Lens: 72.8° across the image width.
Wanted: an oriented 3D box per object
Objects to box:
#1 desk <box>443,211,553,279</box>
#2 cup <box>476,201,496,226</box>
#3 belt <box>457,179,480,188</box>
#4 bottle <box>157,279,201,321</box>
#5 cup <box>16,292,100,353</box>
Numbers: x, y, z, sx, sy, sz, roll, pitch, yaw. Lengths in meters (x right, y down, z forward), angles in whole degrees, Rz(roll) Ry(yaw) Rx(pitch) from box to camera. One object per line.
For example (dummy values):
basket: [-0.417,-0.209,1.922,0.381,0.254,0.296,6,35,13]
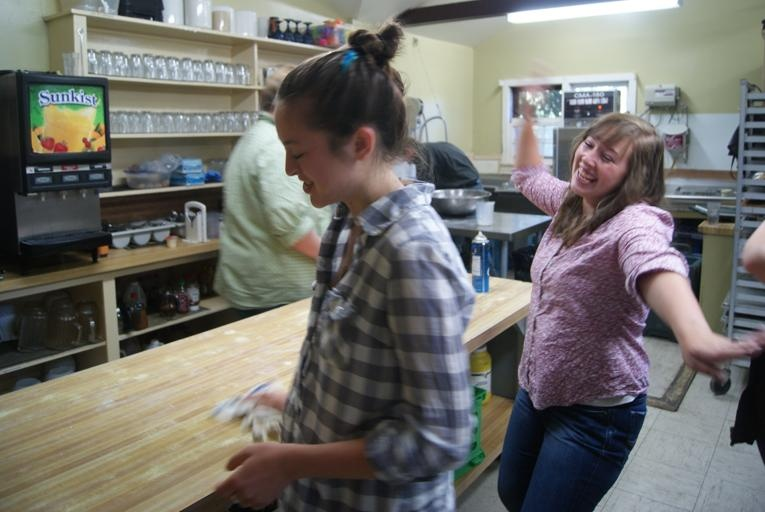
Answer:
desk: [0.991,-0.219,4.554,0.714,0.677,0.725,3,8,27]
cup: [0.875,-0.375,4.464,0.145,0.197,0.230,-1,14,9]
belt: [0.909,-0.786,5.594,0.140,0.072,0.107,15,-14,-36]
bottle: [-1.648,0.351,4.171,0.353,0.336,0.200,-5,10,-30]
cup: [-2.198,0.464,3.469,0.450,0.302,0.273,4,0,6]
